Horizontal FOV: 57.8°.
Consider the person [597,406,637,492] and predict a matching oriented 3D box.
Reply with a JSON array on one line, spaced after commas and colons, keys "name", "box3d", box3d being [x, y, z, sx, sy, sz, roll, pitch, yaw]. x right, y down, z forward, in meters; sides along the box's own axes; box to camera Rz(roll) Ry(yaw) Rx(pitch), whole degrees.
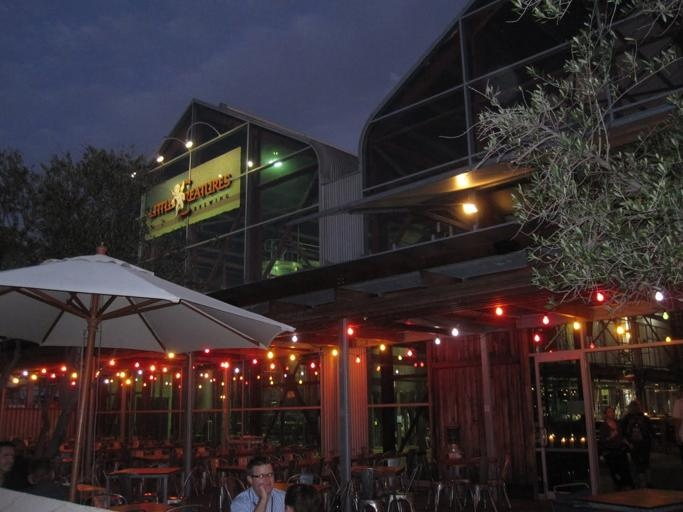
[{"name": "person", "box3d": [5.562, 3.902, 12.545, 0.518, 1.553, 1.144, -10, -22, 22]}]
